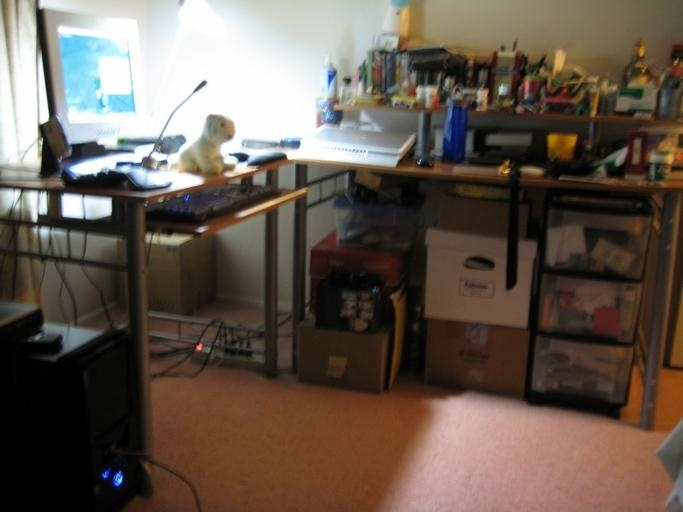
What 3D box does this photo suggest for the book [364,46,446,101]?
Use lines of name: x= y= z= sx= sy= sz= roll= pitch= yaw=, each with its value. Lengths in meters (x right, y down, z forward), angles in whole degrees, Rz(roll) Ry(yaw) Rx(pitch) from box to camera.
book: x=0.314 y=-0.954 z=2.986 sx=0.347 sy=0.277 sz=0.176 roll=5 pitch=17 yaw=11

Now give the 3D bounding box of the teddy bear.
teddy bear: x=-0.563 y=-0.467 z=2.411 sx=0.275 sy=0.251 sz=0.179 roll=6 pitch=10 yaw=20
